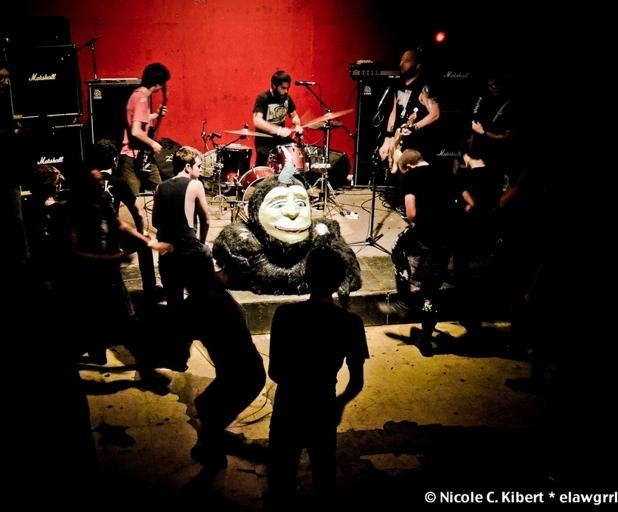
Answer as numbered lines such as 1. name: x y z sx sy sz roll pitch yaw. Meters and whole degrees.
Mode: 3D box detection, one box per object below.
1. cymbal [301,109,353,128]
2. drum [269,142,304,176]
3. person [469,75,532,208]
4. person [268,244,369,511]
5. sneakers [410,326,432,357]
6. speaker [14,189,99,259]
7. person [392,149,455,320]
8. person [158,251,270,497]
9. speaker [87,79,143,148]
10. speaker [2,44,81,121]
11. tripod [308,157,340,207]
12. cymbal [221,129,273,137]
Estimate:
1. cymbal: 0.195 -1.664 6.742 0.542 0.221 0.931 1 10 -2
2. drum: -0.294 -1.206 6.848 0.509 0.372 0.495 2 10 0
3. person: 1.780 -1.101 5.372 0.450 1.348 0.418 14 32 35
4. person: 0.052 0.715 3.203 0.573 1.503 0.304 2 11 -1
5. sneakers: 1.069 0.748 5.255 0.218 0.262 0.433 3 10 9
6. speaker: -2.045 -0.223 4.526 0.549 0.655 0.206 0 11 19
7. person: 1.042 -0.165 5.133 0.536 1.595 0.430 4 11 12
8. person: -0.741 0.696 4.148 0.508 1.426 1.221 -3 11 -22
9. speaker: -2.782 -1.893 8.075 0.800 1.105 0.747 -5 -11 -18
10. speaker: -3.235 -2.098 6.838 0.845 0.784 0.848 -5 11 -33
11. tripod: 0.215 -0.957 6.926 0.424 0.478 0.382 3 5 39
12. cymbal: -0.783 -1.576 7.125 0.452 0.103 0.477 -7 14 -41
